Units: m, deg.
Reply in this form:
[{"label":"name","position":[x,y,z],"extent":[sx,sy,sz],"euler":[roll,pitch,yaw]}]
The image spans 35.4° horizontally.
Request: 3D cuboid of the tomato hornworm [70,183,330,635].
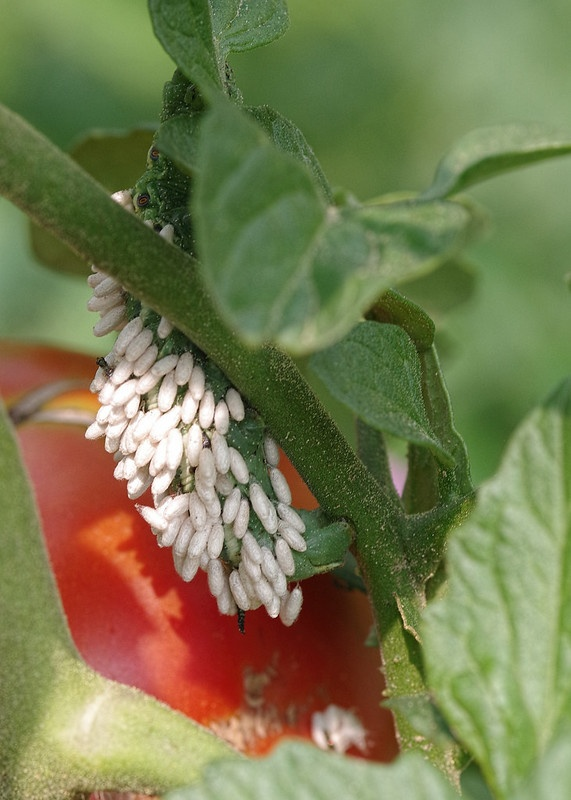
[{"label":"tomato hornworm","position":[-0.050,0.011,0.516],"extent":[0.249,0.111,0.093],"euler":[51,51,-13]}]
